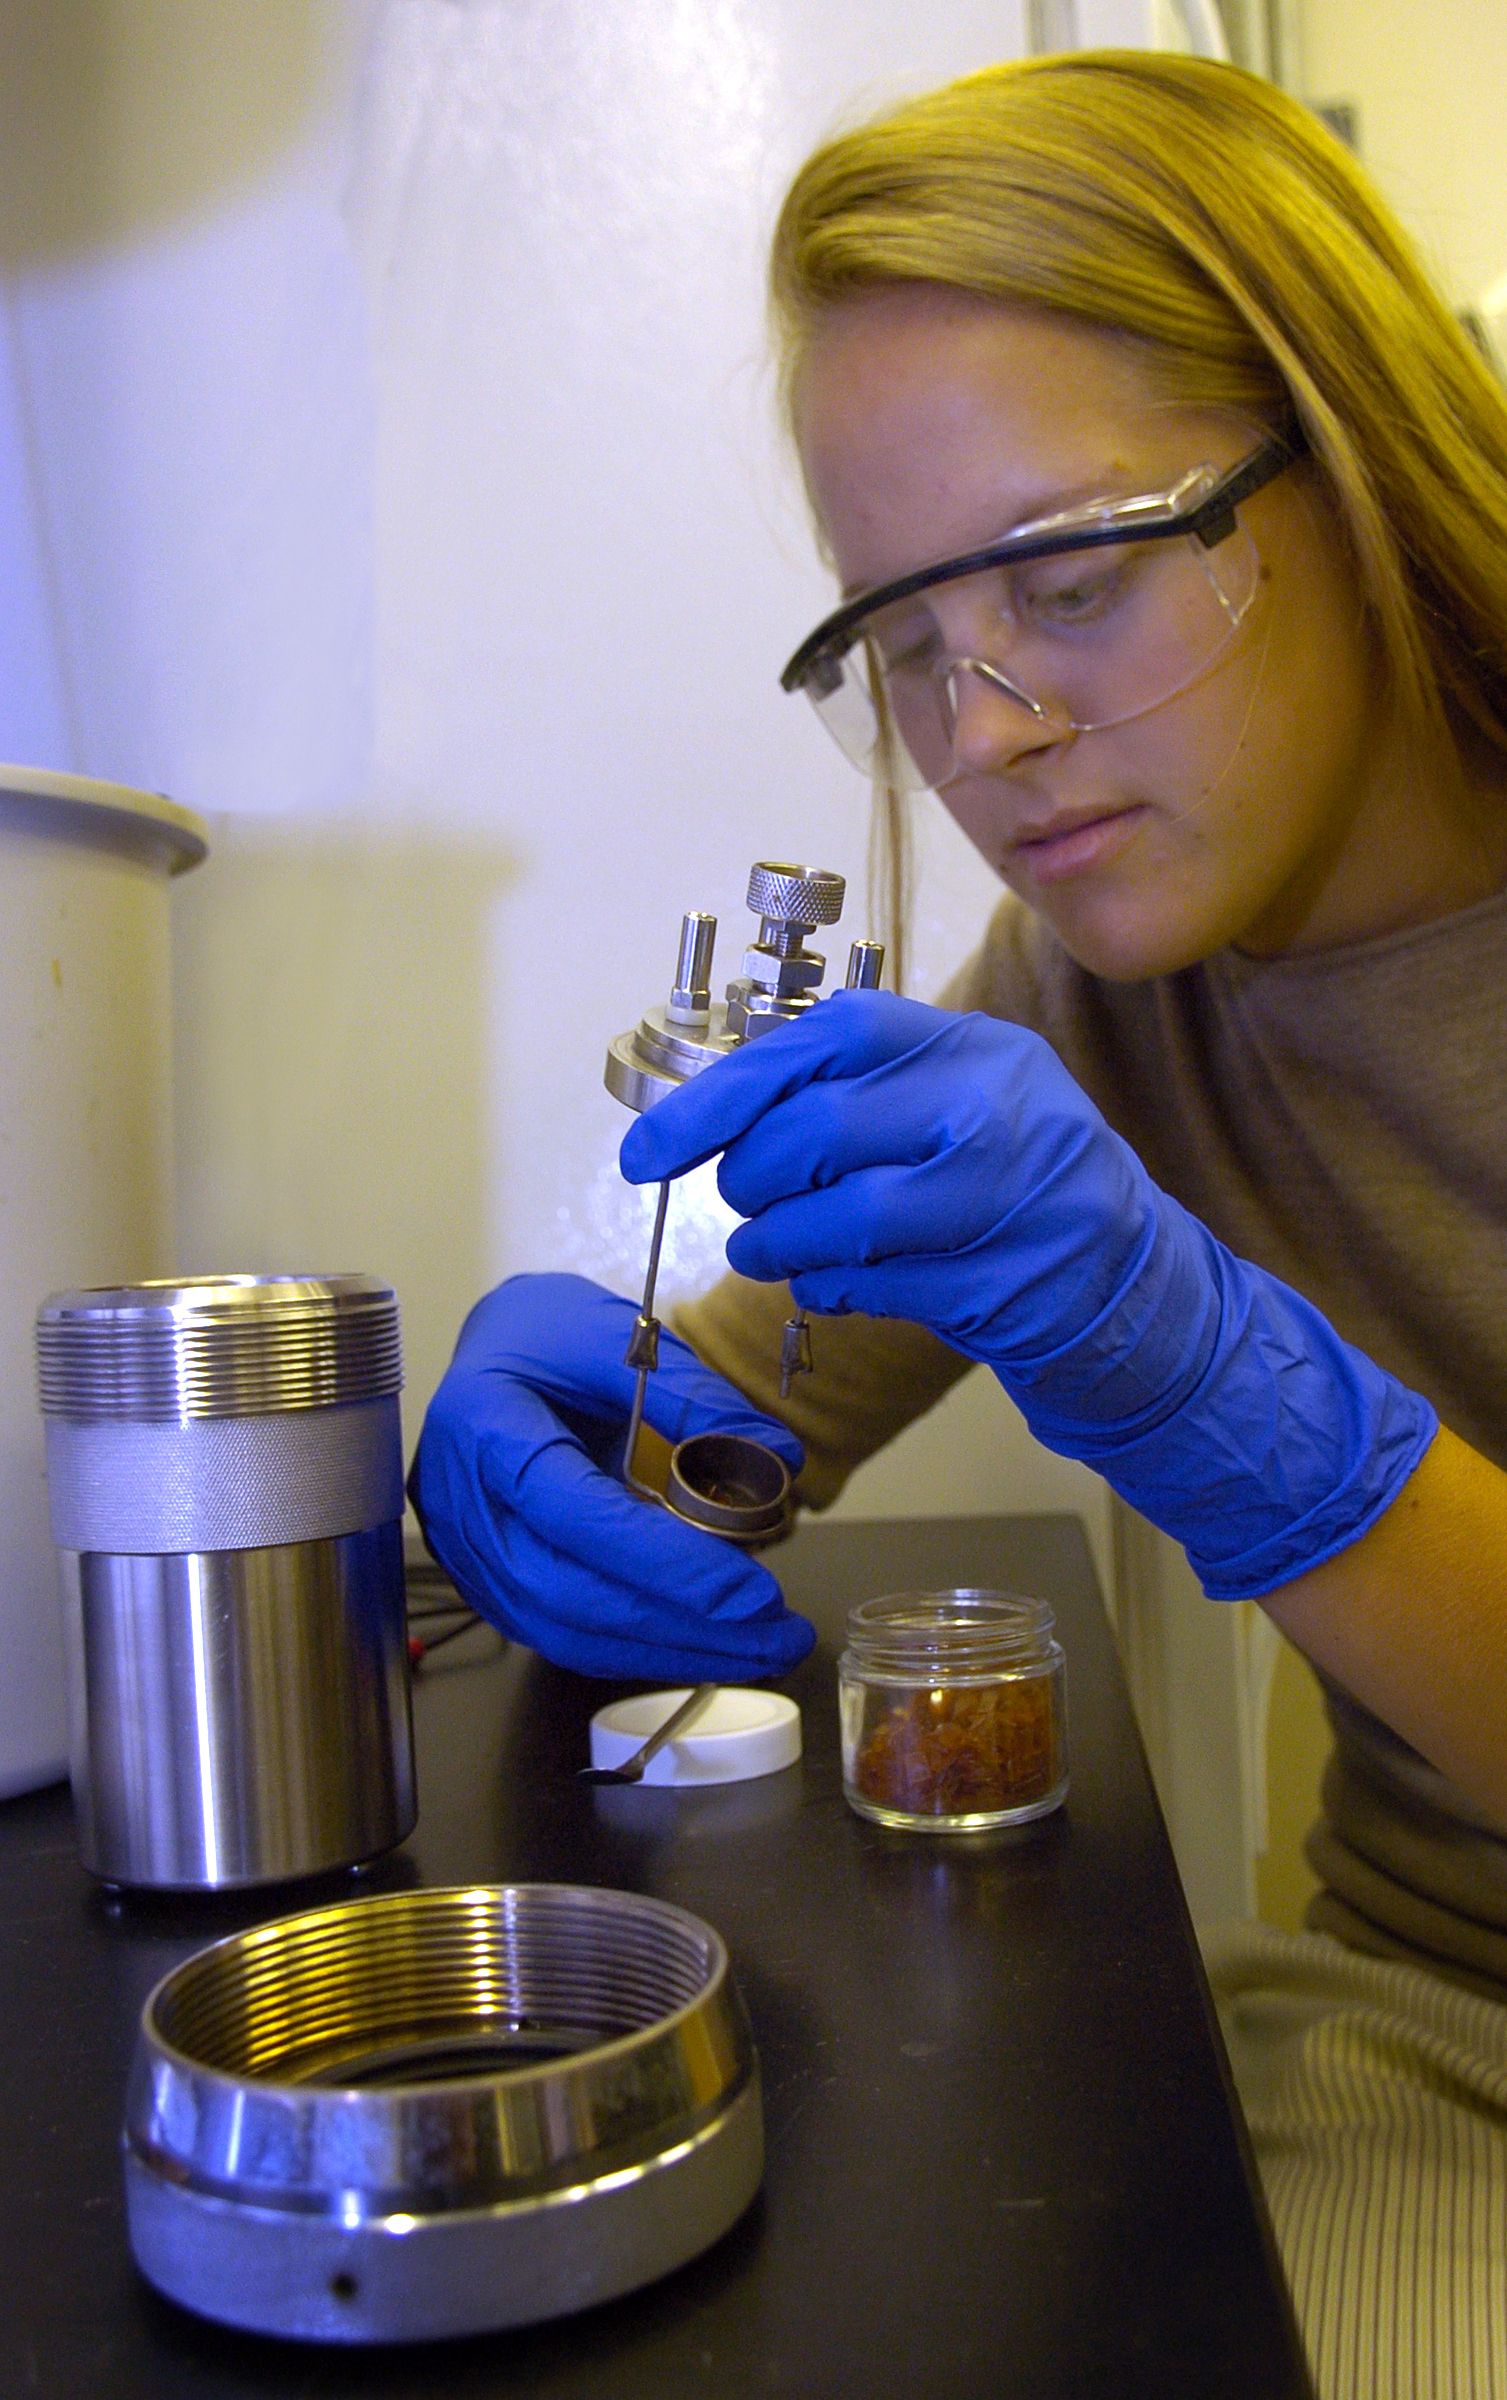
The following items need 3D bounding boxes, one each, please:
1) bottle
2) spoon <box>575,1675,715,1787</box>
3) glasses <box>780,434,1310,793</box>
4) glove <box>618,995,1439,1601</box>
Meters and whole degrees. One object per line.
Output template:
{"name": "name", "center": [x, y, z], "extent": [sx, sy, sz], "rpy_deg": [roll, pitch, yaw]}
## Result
{"name": "bottle", "center": [0.086, 0.238, 0.912], "extent": [0.088, 0.082, 0.092], "rpy_deg": [-5, -3, 40]}
{"name": "spoon", "center": [-0.051, 0.267, 0.950], "extent": [0.024, 0.024, 0.102], "rpy_deg": [4, 31, 30]}
{"name": "glasses", "center": [0.153, -0.300, 1.007], "extent": [0.198, 0.070, 0.191], "rpy_deg": [-43, 13, -33]}
{"name": "glove", "center": [0.133, 0.052, 0.931], "extent": [0.393, 0.287, 0.110], "rpy_deg": [-2, 0, -12]}
